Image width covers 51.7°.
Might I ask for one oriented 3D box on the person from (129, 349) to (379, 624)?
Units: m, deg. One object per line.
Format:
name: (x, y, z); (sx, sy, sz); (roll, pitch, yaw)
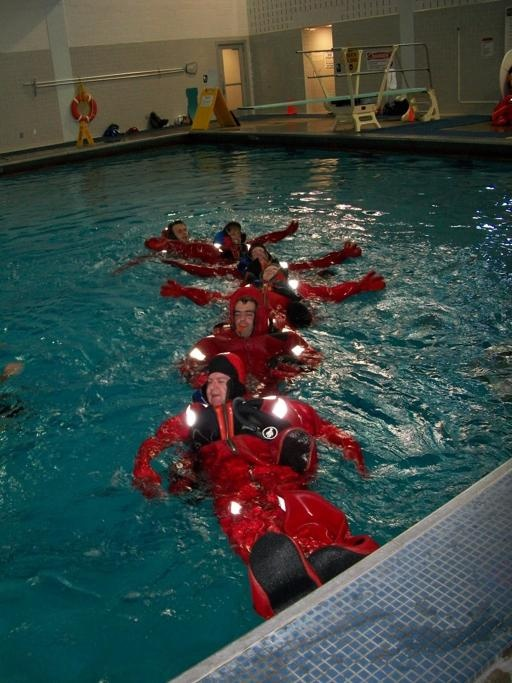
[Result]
person: (0.010, 0.713, 2.802); (1.215, 0.594, 1.530); (-15, 36, -19)

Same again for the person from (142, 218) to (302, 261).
person: (-0.434, -1.438, 7.454); (1.196, 0.319, 1.211); (-16, 13, -36)

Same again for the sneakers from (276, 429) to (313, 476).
sneakers: (0.203, 0.581, 2.801); (0.192, 0.247, 0.143); (18, 30, 25)

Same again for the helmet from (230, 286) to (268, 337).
helmet: (-0.059, -0.246, 4.388); (0.332, 0.401, 0.304); (6, 15, 20)

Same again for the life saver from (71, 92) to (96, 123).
life saver: (-5.928, -8.064, 18.195); (0.438, 0.908, 0.936); (5, 19, 31)

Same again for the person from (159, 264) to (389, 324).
person: (0.192, -0.478, 5.485); (2.180, 0.390, 0.728); (0, 59, 11)

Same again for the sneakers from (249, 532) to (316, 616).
sneakers: (0.086, 0.793, 1.927); (0.184, 0.105, 0.312); (-28, 36, 0)
